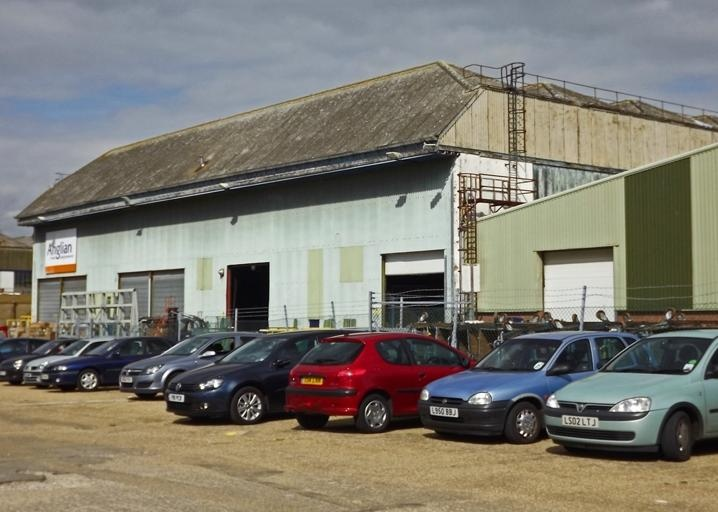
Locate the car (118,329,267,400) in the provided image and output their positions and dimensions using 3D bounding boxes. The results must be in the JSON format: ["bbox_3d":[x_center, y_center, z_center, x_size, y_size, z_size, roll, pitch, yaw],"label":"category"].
[{"bbox_3d":[-4.167,2.633,25.880,3.690,1.257,1.804,0,-5,-34],"label":"car"}]

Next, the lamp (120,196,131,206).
[{"bbox_3d":[-10.807,-2.609,46.800,0.429,0.471,1.208,-3,4,-16],"label":"lamp"}]

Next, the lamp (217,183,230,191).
[{"bbox_3d":[-5.501,-2.940,41.461,0.347,0.268,0.744,-4,5,-36],"label":"lamp"}]

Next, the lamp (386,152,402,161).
[{"bbox_3d":[1.203,-3.476,34.262,0.545,0.299,0.473,-1,4,1],"label":"lamp"}]

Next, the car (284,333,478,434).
[{"bbox_3d":[0.408,2.623,20.843,3.140,1.394,1.905,-3,-2,-39],"label":"car"}]

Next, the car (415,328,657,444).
[{"bbox_3d":[3.311,2.437,19.691,3.704,1.491,2.130,3,-7,-34],"label":"car"}]
